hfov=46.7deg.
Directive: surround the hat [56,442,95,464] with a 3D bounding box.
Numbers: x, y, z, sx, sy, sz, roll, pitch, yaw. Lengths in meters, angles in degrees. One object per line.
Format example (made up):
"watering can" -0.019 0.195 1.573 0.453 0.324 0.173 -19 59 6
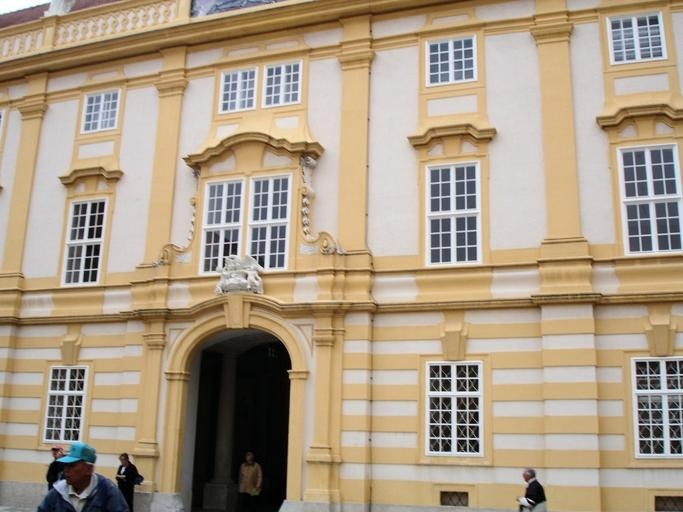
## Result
"hat" -3.728 2.806 11.200 0.502 0.254 0.305 6 -10 -11
